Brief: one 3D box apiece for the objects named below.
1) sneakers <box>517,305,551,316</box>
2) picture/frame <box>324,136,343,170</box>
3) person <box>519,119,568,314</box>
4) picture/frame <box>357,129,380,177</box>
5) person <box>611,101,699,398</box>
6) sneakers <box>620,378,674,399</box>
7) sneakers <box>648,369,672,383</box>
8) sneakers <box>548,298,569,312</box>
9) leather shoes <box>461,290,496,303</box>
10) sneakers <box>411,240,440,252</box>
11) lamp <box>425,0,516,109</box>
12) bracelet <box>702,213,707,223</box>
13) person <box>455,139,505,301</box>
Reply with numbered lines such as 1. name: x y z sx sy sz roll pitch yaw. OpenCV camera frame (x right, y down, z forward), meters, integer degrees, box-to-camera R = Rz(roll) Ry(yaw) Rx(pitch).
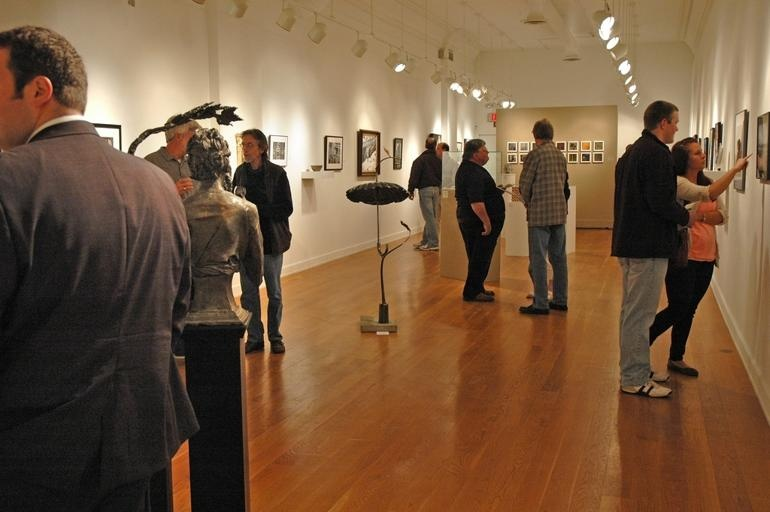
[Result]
1. sneakers: 1.823 0.622 7.213 0.372 0.166 0.138 5 5 26
2. picture/frame: -0.995 -1.932 10.958 0.036 0.954 0.666 -1 3 25
3. person: 1.948 -0.459 7.127 0.580 2.332 0.720 7 13 33
4. picture/frame: -0.339 -2.159 12.413 0.184 1.006 1.025 4 12 19
5. person: 2.105 -0.049 4.706 0.541 2.313 0.456 4 12 22
6. sneakers: 2.127 1.079 4.805 0.322 0.141 0.152 -4 1 18
7. sneakers: 2.331 1.006 5.037 0.223 0.091 0.122 0 8 14
8. sneakers: 2.153 0.609 7.382 0.119 0.147 0.338 -1 8 -16
9. leather shoes: 1.251 0.550 7.918 0.314 0.120 0.179 -2 1 -1
10. sneakers: 0.848 -0.210 12.457 0.494 0.219 0.199 3 0 2
11. lamp: 2.411 -4.786 15.723 2.021 1.609 5.539 3 13 13
12. bracelet: 2.583 -0.308 4.759 0.053 0.073 0.031 9 0 16
13. person: 1.204 -0.437 7.649 0.625 2.107 0.626 5 12 23
